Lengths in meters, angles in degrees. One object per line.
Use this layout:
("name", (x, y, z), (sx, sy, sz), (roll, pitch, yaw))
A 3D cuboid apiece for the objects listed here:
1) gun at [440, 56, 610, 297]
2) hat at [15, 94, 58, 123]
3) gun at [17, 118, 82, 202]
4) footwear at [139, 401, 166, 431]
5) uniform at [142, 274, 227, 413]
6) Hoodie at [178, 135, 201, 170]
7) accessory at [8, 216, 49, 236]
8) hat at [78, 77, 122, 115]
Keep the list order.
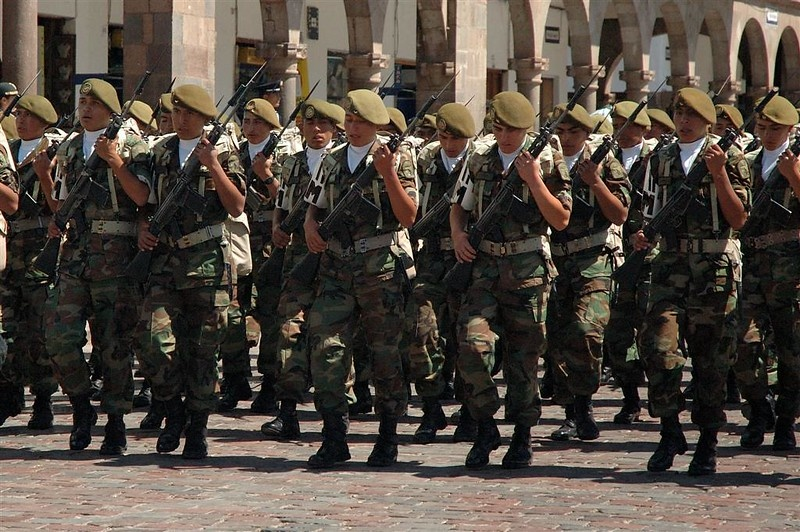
("gun", (0.998, -0.529, 9.476), (1.160, 1.456, 0.661), (-5, 8, -38))
("hat", (-3.343, -1.435, 10.678), (0.282, 0.105, 0.295), (22, -10, 30))
("gun", (-3.170, -0.925, 10.388), (0.346, 0.788, 0.169), (-12, -10, 7))
("footwear", (-2.288, 1.411, 10.736), (0.147, 0.247, 0.387), (-1, -5, 25))
("uniform", (-1.850, 0.604, 9.801), (0.745, 1.323, 0.484), (5, -3, -19))
("Hoodie", (-1.793, -0.958, 9.804), (0.195, 0.239, 0.094), (1, -42, 11))
("accessory", (-3.459, -0.373, 10.767), (0.299, 0.073, 0.172), (-8, -2, -2))
("hat", (-2.524, -1.392, 9.864), (0.300, 0.144, 0.378), (11, -22, 20))
